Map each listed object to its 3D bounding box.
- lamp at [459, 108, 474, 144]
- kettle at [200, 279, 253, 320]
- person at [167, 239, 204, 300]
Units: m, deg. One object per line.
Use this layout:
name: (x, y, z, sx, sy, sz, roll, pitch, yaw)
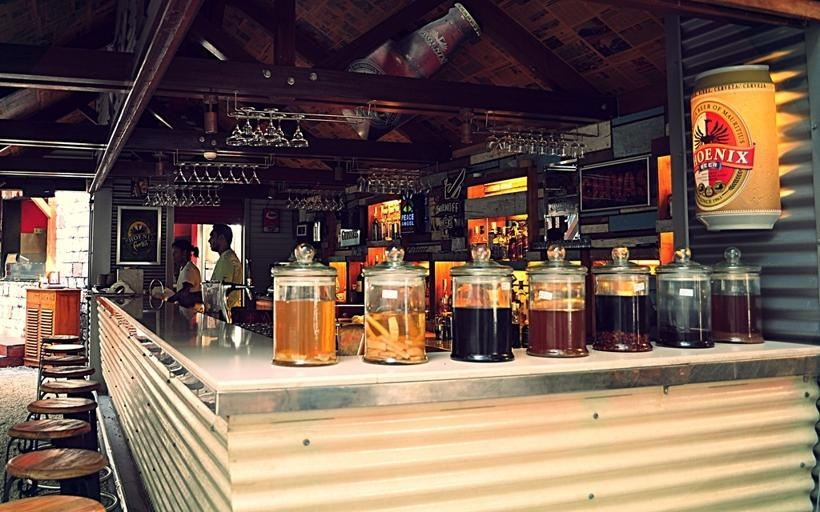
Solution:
lamp: (0.615, -1.405, 6.770, 0.126, 0.326, 0.187, -3, -3, 5)
kettle: (-1.757, 0.430, 6.002, 0.427, 0.404, 0.326, -8, 23, -24)
person: (-2.820, 0.172, 7.838, 0.404, 0.893, 1.879, -2, -2, -21)
